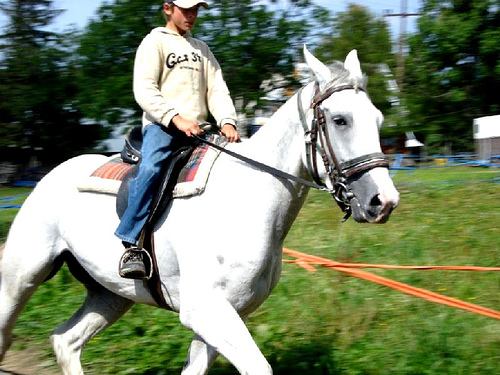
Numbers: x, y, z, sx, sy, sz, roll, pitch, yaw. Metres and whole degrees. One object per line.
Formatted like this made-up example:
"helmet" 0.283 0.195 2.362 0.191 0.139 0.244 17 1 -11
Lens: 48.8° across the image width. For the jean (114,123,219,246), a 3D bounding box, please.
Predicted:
"jean" -0.821 -0.038 4.707 0.294 1.010 0.672 5 14 45
